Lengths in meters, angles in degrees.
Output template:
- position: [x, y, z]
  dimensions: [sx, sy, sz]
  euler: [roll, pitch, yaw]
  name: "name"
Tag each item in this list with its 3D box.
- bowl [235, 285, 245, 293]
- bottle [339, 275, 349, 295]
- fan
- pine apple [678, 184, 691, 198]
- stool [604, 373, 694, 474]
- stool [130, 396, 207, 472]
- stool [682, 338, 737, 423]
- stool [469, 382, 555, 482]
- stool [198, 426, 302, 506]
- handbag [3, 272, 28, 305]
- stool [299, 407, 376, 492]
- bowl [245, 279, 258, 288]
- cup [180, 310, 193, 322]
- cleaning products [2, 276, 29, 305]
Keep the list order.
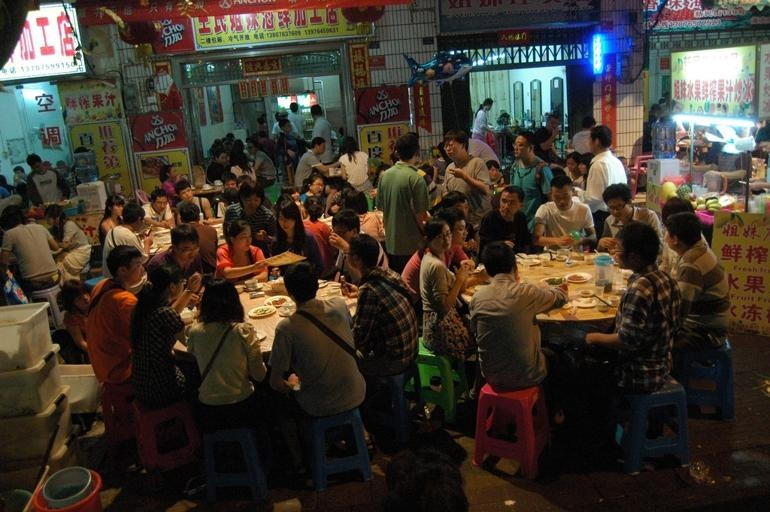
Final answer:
- position: [-1.538, 0.349, 5.897]
  dimensions: [0.082, 0.020, 0.079]
  euler: [1, 10, 0]
  name: "bowl"
- position: [-0.433, 0.305, 5.736]
  dimensions: [0.075, 0.234, 0.069]
  euler: [-15, 25, 7]
  name: "bottle"
- position: [4.486, -1.082, 7.210]
  dimensions: [0.430, 0.915, 0.515]
  euler: [8, -1, -5]
  name: "fan"
- position: [3.891, -0.841, 7.286]
  dimensions: [0.168, 0.187, 0.185]
  euler: [3, -3, 8]
  name: "pine apple"
- position: [2.259, 1.394, 4.769]
  dimensions: [0.578, 0.706, 0.475]
  euler: [-2, 12, 3]
  name: "stool"
- position: [-1.935, 1.560, 4.933]
  dimensions: [0.477, 0.718, 0.513]
  euler: [-10, 14, -30]
  name: "stool"
- position: [3.010, 1.147, 5.201]
  dimensions: [0.481, 0.691, 0.272]
  euler: [2, 13, 21]
  name: "stool"
- position: [1.105, 1.406, 4.959]
  dimensions: [0.727, 0.716, 0.733]
  euler: [8, 27, 27]
  name: "stool"
- position: [-1.207, 1.679, 4.994]
  dimensions: [0.700, 0.874, 0.540]
  euler: [-6, 8, -4]
  name: "stool"
- position: [-4.400, 0.390, 6.627]
  dimensions: [0.195, 0.331, 0.130]
  euler: [-15, 14, 36]
  name: "handbag"
- position: [-0.404, 1.590, 4.788]
  dimensions: [0.550, 0.662, 0.319]
  euler: [-5, 12, -8]
  name: "stool"
- position: [-1.414, 0.289, 5.850]
  dimensions: [0.096, 0.058, 0.097]
  euler: [-1, 18, 0]
  name: "bowl"
- position: [-1.875, 0.568, 5.278]
  dimensions: [0.087, 0.077, 0.115]
  euler: [-2, 33, 2]
  name: "cup"
- position: [-4.373, 0.407, 6.578]
  dimensions: [0.127, 0.341, 0.187]
  euler: [-16, 42, 13]
  name: "cleaning products"
